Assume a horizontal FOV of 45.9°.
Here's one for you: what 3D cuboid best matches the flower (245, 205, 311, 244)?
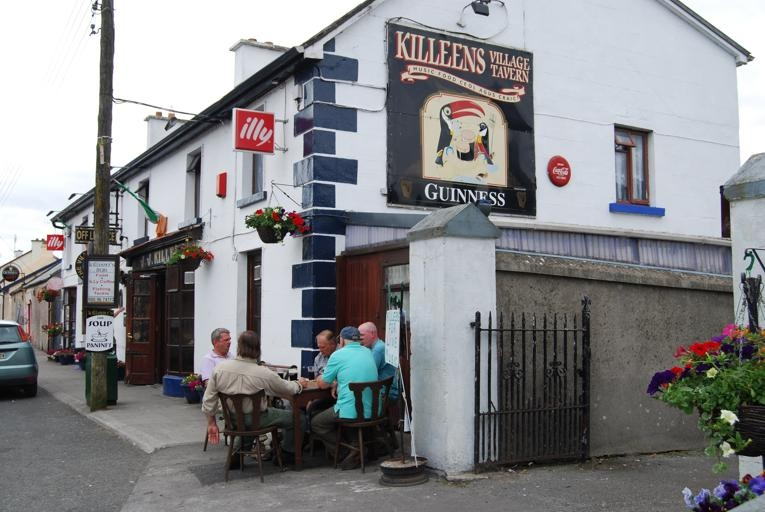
[{"bbox_3d":[-2.023,-0.598,17.299,0.818,0.511,0.839,8,-9,-28],"label":"flower"}]

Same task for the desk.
[{"bbox_3d":[-1.229,2.765,14.949,0.961,1.314,1.326,-1,-2,-29],"label":"desk"}]

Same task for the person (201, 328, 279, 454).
[{"bbox_3d":[-2.102,2.012,14.329,1.346,1.845,0.860,1,17,-12],"label":"person"}]

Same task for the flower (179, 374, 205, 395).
[{"bbox_3d":[-4.116,2.778,19.665,0.394,0.487,1.287,-2,5,-16],"label":"flower"}]

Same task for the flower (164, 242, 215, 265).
[{"bbox_3d":[-4.380,-0.063,20.615,0.636,0.358,0.644,0,-3,-28],"label":"flower"}]

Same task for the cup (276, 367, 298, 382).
[{"bbox_3d":[-1.745,2.157,16.652,0.311,0.172,0.421,2,-8,-22],"label":"cup"}]
